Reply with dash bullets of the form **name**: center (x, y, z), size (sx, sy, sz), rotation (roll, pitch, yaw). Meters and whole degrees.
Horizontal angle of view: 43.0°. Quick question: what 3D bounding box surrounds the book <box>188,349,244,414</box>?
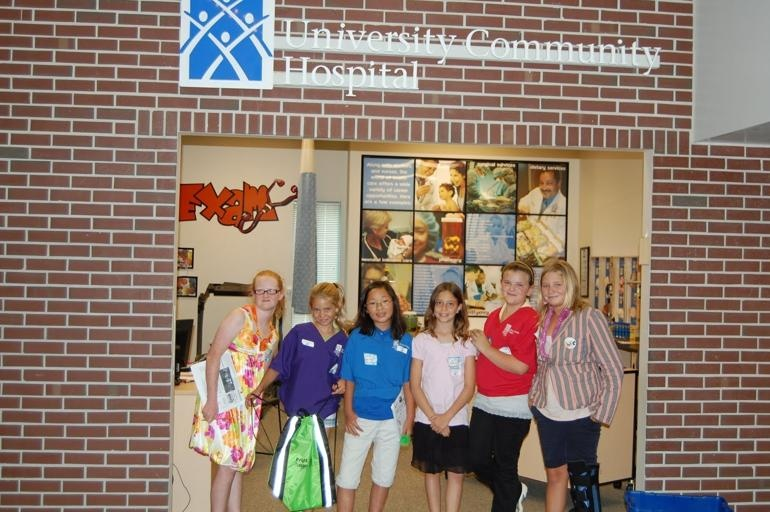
- **book**: center (-1.478, 1.124, 8.521), size (0.549, 0.111, 0.534), rotation (27, 36, -6)

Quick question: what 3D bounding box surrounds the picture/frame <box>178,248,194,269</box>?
- **picture/frame**: center (-2.814, 0.023, 13.930), size (0.263, 0.293, 0.029), rotation (1, 0, -2)

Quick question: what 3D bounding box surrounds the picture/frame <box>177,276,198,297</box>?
- **picture/frame**: center (-2.786, 0.424, 13.879), size (0.337, 0.321, 0.030), rotation (1, -2, -3)
